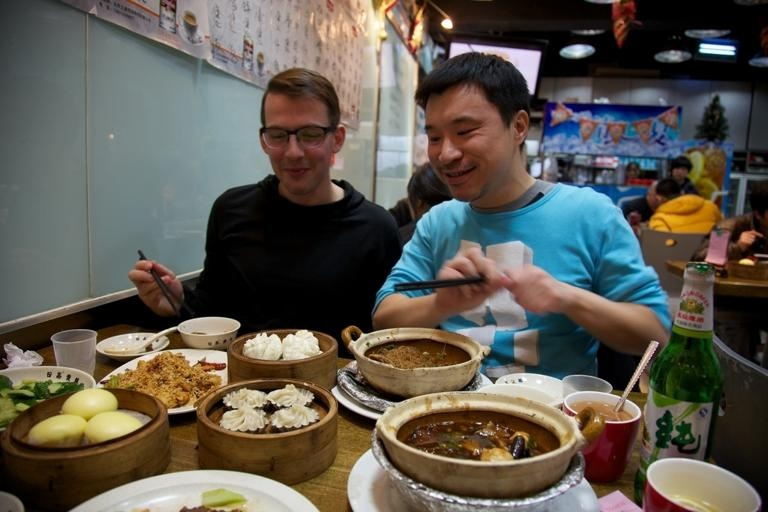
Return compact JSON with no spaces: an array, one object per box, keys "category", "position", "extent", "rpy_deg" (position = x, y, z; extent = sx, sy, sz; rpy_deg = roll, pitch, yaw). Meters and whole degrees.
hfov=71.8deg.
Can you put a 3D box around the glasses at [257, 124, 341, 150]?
[{"category":"glasses","position":[-0.516,-0.699,3.159],"extent":[0.438,0.129,0.184],"rpy_deg":[-3,11,-9]}]

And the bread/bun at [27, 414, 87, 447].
[{"category":"bread/bun","position":[-1.148,0.620,1.862],"extent":[0.182,0.091,0.141],"rpy_deg":[3,12,18]}]

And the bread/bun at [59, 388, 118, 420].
[{"category":"bread/bun","position":[-1.078,0.541,1.940],"extent":[0.146,0.103,0.109],"rpy_deg":[-18,-16,-7]}]

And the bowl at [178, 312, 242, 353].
[{"category":"bowl","position":[-0.909,0.379,2.781],"extent":[0.273,0.182,0.303],"rpy_deg":[3,6,26]}]

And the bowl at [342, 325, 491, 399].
[{"category":"bowl","position":[0.140,0.474,2.385],"extent":[0.636,0.242,0.534],"rpy_deg":[2,9,3]}]

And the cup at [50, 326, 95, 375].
[{"category":"cup","position":[-1.414,0.418,2.462],"extent":[0.216,0.203,0.194],"rpy_deg":[6,5,44]}]

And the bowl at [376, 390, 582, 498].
[{"category":"bowl","position":[0.313,0.630,1.809],"extent":[0.677,0.212,0.331],"rpy_deg":[-1,11,-1]}]

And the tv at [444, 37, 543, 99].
[{"category":"tv","position":[1.365,-2.340,6.606],"extent":[1.268,0.810,0.162],"rpy_deg":[12,41,15]}]

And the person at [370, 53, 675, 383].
[{"category":"person","position":[0.807,-0.072,2.912],"extent":[1.000,2.073,1.049],"rpy_deg":[3,5,20]}]

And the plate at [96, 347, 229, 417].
[{"category":"plate","position":[-0.912,0.531,2.397],"extent":[0.465,0.208,0.589],"rpy_deg":[4,5,24]}]

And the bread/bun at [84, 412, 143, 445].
[{"category":"bread/bun","position":[-0.960,0.615,1.874],"extent":[0.178,0.090,0.158],"rpy_deg":[-7,13,-31]}]
